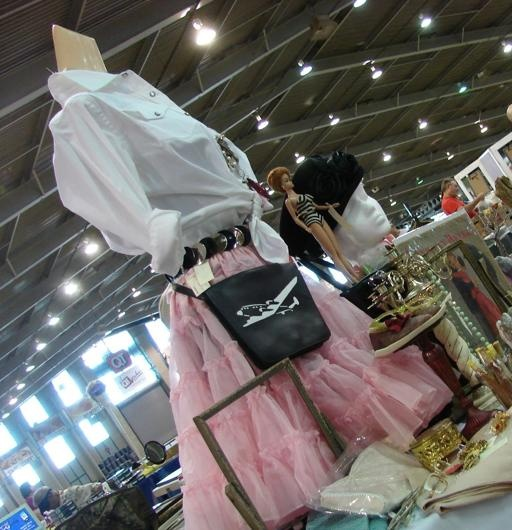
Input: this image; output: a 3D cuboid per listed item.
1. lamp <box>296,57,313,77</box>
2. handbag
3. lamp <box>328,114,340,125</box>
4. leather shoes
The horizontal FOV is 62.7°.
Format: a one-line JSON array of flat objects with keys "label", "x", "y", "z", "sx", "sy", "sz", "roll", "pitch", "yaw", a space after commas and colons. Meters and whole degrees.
[{"label": "lamp", "x": 0.953, "y": -3.809, "z": 8.208, "sx": 0.329, "sy": 0.292, "sz": 0.308, "roll": -18, "pitch": -29, "yaw": -14}, {"label": "handbag", "x": 0.021, "y": 0.190, "z": 1.352, "sx": 0.351, "sy": 0.331, "sz": 0.079, "roll": -26, "pitch": -21, "yaw": -28}, {"label": "lamp", "x": 1.916, "y": -3.581, "z": 10.479, "sx": 0.300, "sy": 0.231, "sz": 0.271, "roll": -1, "pitch": 1, "yaw": -2}, {"label": "leather shoes", "x": 0.348, "y": 0.150, "z": 1.006, "sx": 0.200, "sy": 0.052, "sz": 0.146, "roll": -31, "pitch": -8, "yaw": 21}]
